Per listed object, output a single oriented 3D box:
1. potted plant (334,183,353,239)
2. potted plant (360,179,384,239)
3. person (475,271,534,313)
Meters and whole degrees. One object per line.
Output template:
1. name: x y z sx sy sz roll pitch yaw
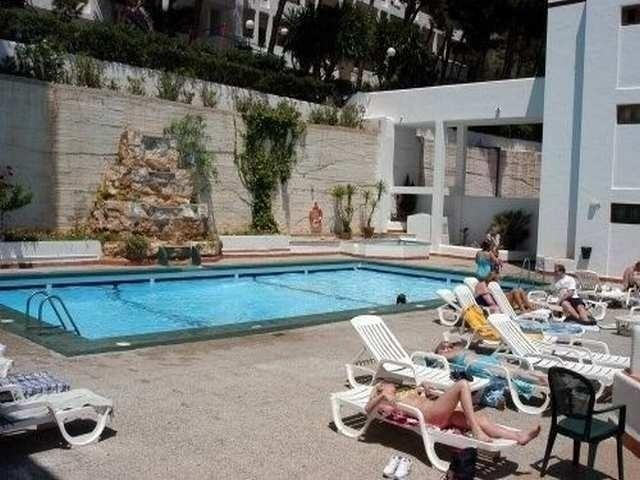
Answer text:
1. potted plant: 1.082 -1.400 21.211 1.028 2.525 1.664 0 6 7
2. potted plant: 2.663 -1.866 22.313 1.323 2.292 0.659 -7 9 -42
3. person: 3.745 1.004 8.815 0.558 0.710 1.202 -7 7 -43
